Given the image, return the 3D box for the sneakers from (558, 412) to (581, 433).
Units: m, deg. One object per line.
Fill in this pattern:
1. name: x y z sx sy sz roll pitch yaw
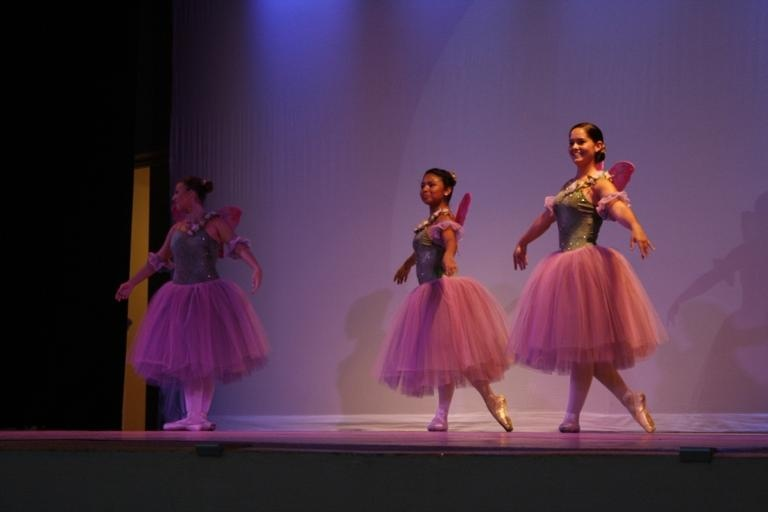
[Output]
1. sneakers: 0.950 0.846 3.437 0.094 0.085 0.114 -2 -3 23

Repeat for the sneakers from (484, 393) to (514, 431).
1. sneakers: 0.647 0.830 3.570 0.146 0.193 0.196 0 -3 -33

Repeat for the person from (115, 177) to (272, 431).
1. person: -1.101 0.248 3.853 0.798 1.462 0.442 -2 -2 21

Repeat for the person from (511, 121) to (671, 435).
1. person: 1.040 0.091 3.552 0.768 1.648 0.505 -2 -2 22

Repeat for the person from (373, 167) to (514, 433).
1. person: 0.347 0.215 3.799 0.723 1.490 0.486 -1 -2 11

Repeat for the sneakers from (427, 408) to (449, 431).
1. sneakers: 0.296 0.899 3.713 0.107 0.118 0.087 -1 -2 -4

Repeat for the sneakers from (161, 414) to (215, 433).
1. sneakers: -1.076 0.887 3.690 0.268 0.087 0.167 4 -8 14
